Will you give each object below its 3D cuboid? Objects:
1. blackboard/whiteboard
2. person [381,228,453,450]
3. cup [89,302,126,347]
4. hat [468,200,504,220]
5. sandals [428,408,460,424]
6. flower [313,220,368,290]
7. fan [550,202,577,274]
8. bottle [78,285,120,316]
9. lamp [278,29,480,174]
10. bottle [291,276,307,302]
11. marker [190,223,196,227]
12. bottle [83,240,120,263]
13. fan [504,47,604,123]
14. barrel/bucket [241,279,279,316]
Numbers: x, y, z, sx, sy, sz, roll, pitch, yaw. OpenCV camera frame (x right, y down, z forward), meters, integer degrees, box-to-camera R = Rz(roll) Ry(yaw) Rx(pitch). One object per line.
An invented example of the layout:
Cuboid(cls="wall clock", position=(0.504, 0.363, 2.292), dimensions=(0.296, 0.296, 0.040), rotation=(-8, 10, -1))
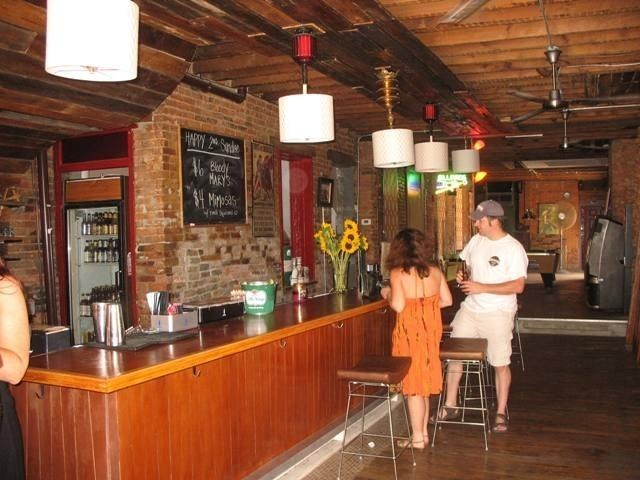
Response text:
Cuboid(cls="blackboard/whiteboard", position=(-1.180, -0.707, 5.820), dimensions=(0.059, 1.057, 1.161), rotation=(0, 4, 27))
Cuboid(cls="person", position=(0.886, 0.877, 4.641), dimensions=(0.562, 1.947, 0.330), rotation=(-1, 4, -3))
Cuboid(cls="cup", position=(-1.475, 0.583, 3.654), dimensions=(0.294, 0.300, 0.131), rotation=(2, 5, 32))
Cuboid(cls="hat", position=(1.615, -0.297, 5.095), dimensions=(0.296, 0.167, 0.197), rotation=(2, 8, 5))
Cuboid(cls="sandals", position=(1.265, 1.766, 5.267), dimensions=(0.341, 0.131, 0.121), rotation=(1, -4, -10))
Cuboid(cls="flower", position=(0.249, 0.166, 5.883), dimensions=(0.684, 0.800, 0.544), rotation=(-3, 2, 5))
Cuboid(cls="fan", position=(8.959, -0.175, 19.159), dimensions=(0.787, 2.584, 0.459), rotation=(1, 5, 25))
Cuboid(cls="bottle", position=(-2.187, 0.593, 5.158), dimensions=(0.395, 0.356, 0.080), rotation=(1, -3, 3))
Cuboid(cls="lamp", position=(0.574, -1.225, 5.010), dimensions=(0.473, 1.005, 2.847), rotation=(2, 4, 32))
Cuboid(cls="bottle", position=(-0.205, 0.505, 5.381), dimensions=(0.152, 0.238, 0.168), rotation=(-2, 4, -14))
Cuboid(cls="marker", position=(-1.354, -0.164, 5.509), dimensions=(0.039, 0.042, 0.083), rotation=(1, 4, 24))
Cuboid(cls="bottle", position=(-2.446, 0.122, 5.884), dimensions=(0.259, 0.217, 0.060), rotation=(1, 1, 1))
Cuboid(cls="fan", position=(2.402, -1.492, 5.451), dimensions=(0.900, 0.639, 0.886), rotation=(1, 5, -2))
Cuboid(cls="barrel/bucket", position=(-0.597, 0.553, 4.884), dimensions=(0.364, 0.292, 0.352), rotation=(-4, -3, 0))
